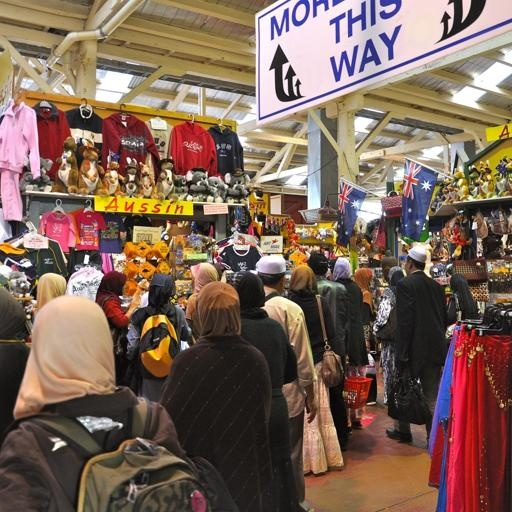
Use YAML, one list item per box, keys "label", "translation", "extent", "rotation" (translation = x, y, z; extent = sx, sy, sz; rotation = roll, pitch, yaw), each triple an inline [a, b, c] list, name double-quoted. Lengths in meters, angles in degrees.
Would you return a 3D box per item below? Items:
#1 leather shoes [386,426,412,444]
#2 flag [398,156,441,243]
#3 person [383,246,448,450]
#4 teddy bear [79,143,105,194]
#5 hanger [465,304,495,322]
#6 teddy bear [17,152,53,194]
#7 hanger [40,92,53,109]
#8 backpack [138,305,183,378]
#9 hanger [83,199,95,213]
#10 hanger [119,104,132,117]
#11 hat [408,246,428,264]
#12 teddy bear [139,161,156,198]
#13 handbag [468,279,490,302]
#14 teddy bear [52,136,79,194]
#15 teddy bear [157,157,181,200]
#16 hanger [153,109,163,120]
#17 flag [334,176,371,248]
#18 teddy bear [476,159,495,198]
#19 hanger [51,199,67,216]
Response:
- label: "leather shoes"
  translation: [1.353, 1.702, 4.512]
  extent: [0.086, 0.121, 0.241]
  rotation: [3, 2, -33]
- label: "flag"
  translation: [1.896, -0.668, 5.546]
  extent: [0.402, 0.998, 0.322]
  rotation: [-1, -1, 22]
- label: "person"
  translation: [1.426, 0.789, 4.132]
  extent: [0.588, 1.756, 0.385]
  rotation: [1, -2, -35]
- label: "teddy bear"
  translation: [-1.539, -0.805, 4.407]
  extent: [0.212, 0.481, 0.258]
  rotation: [0, -2, -18]
- label: "hanger"
  translation: [1.737, 0.448, 3.733]
  extent: [0.238, 0.124, 0.330]
  rotation: [1, -9, -1]
- label: "teddy bear"
  translation: [-2.023, -0.736, 4.373]
  extent: [0.266, 0.343, 0.324]
  rotation: [0, -2, -24]
- label: "hanger"
  translation: [-2.044, -1.488, 4.606]
  extent: [0.119, 0.137, 0.158]
  rotation: [0, -2, -28]
- label: "backpack"
  translation: [-0.580, 0.529, 2.801]
  extent: [0.281, 0.410, 0.157]
  rotation: [-2, -15, -8]
- label: "hanger"
  translation: [-1.581, -0.474, 4.476]
  extent: [0.081, 0.119, 0.129]
  rotation: [0, -2, -25]
- label: "hanger"
  translation: [-1.391, -1.543, 5.002]
  extent: [0.161, 0.176, 0.108]
  rotation: [-2, 12, -15]
- label: "hat"
  translation: [1.447, -0.035, 4.288]
  extent: [0.117, 0.099, 0.174]
  rotation: [2, 44, -7]
- label: "teddy bear"
  translation: [-1.069, -0.742, 4.650]
  extent: [0.159, 0.371, 0.244]
  rotation: [0, -2, -14]
- label: "handbag"
  translation: [2.255, 0.357, 4.792]
  extent: [0.045, 0.194, 0.169]
  rotation: [0, -1, -40]
- label: "teddy bear"
  translation: [-1.756, -0.833, 4.369]
  extent: [0.259, 0.522, 0.190]
  rotation: [0, -1, -5]
- label: "teddy bear"
  translation: [-0.883, -0.763, 4.678]
  extent: [0.206, 0.439, 0.311]
  rotation: [0, -2, -10]
- label: "hanger"
  translation: [-1.095, -1.595, 5.309]
  extent: [0.036, 0.121, 0.082]
  rotation: [3, 3, -26]
- label: "flag"
  translation: [1.288, -0.603, 6.430]
  extent: [0.397, 0.970, 0.440]
  rotation: [-1, -1, 13]
- label: "teddy bear"
  translation: [2.421, -0.800, 5.005]
  extent: [0.154, 0.414, 0.274]
  rotation: [-1, -2, 27]
- label: "hanger"
  translation: [-1.820, -0.447, 4.375]
  extent: [0.114, 0.174, 0.133]
  rotation: [0, -2, -25]
